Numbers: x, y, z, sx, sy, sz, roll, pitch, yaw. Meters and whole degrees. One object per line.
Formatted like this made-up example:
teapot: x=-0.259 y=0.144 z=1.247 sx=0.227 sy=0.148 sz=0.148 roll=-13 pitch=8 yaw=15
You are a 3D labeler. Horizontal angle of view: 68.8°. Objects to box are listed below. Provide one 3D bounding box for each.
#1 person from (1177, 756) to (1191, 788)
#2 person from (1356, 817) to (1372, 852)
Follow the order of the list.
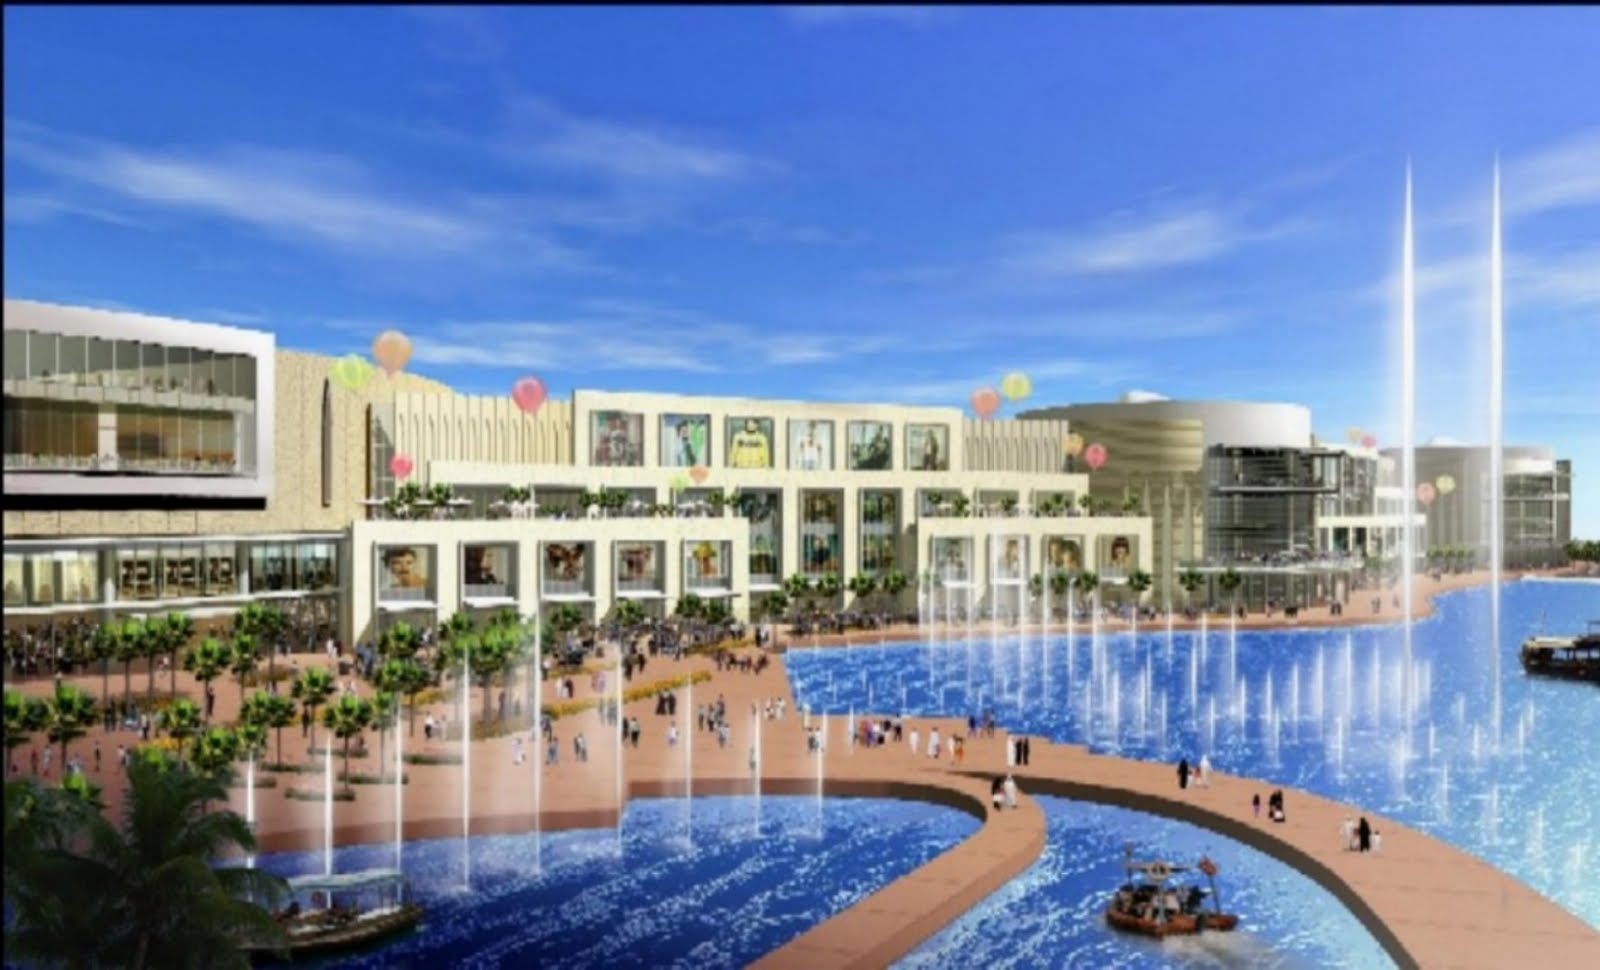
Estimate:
person: x=16.834 y=12.500 z=51.311 sx=0.545 sy=1.123 sz=1.041 roll=-3 pitch=-4 yaw=17
person: x=21.808 y=13.369 z=45.310 sx=0.623 sy=1.094 sz=1.273 roll=-3 pitch=-5 yaw=24
